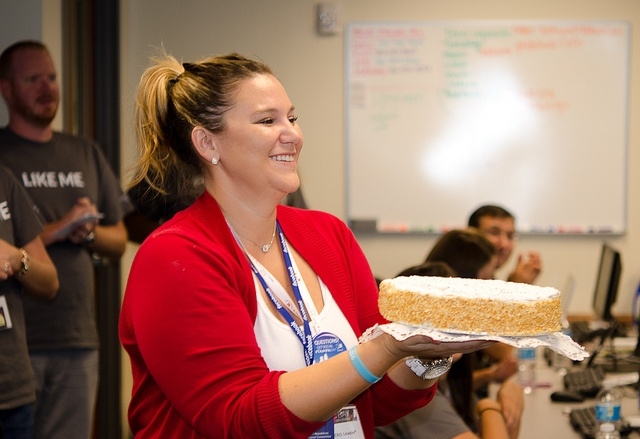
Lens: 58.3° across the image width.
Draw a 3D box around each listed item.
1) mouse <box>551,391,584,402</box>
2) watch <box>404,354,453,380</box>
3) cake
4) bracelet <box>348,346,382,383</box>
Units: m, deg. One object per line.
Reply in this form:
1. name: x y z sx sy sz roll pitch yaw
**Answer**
1. mouse: 1.265 0.902 2.930 0.118 0.042 0.067 5 5 8
2. watch: 0.327 0.428 1.705 0.085 0.038 0.097 0 -2 -36
3. cake: 0.408 0.233 1.587 0.482 0.108 0.271 1 9 6
4. bracelet: 0.119 0.397 1.514 0.020 0.086 0.079 -34 5 10
